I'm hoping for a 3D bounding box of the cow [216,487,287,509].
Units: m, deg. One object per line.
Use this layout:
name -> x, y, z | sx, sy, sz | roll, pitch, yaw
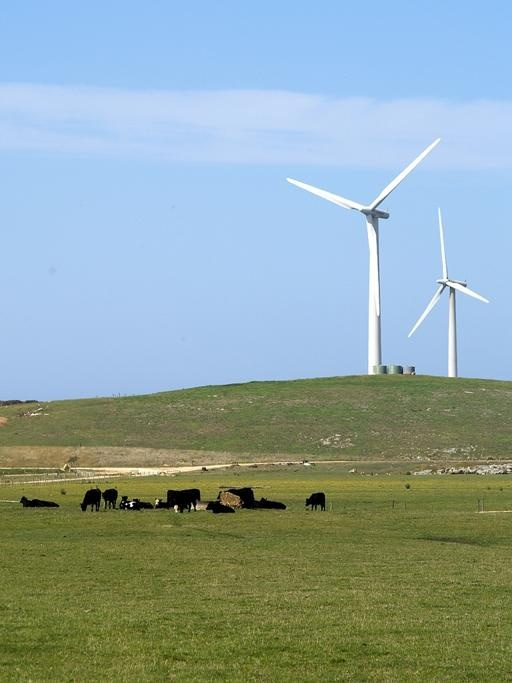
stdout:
cow -> -0.352, 6.102, 68.643 | 1.448, 0.707, 3.145 | -1, -1, -42
